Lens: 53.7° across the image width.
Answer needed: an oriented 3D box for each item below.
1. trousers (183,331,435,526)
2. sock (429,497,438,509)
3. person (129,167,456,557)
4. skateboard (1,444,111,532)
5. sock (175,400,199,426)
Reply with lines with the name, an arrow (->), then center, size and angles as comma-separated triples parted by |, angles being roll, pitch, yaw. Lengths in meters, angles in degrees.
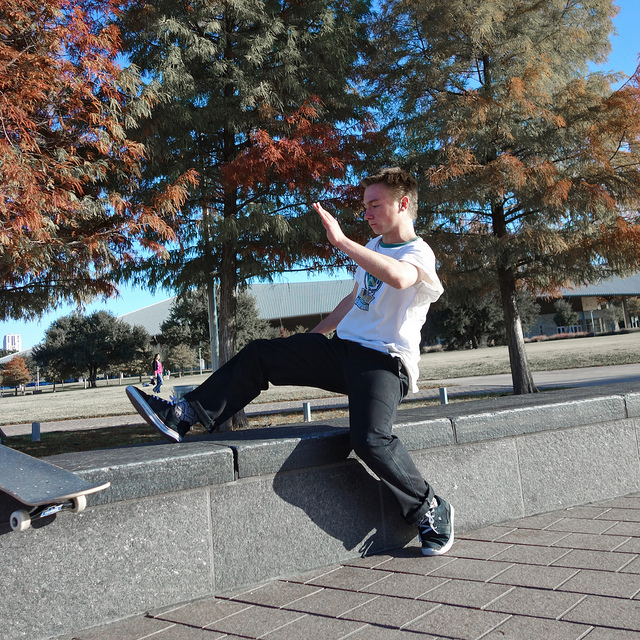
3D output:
trousers -> 0.047, 0.429, 3.462 | 1.502, 0.713, 1.036 | 14, 15, 24
sock -> 0.585, 0.939, 3.263 | 0.030, 0.019, 0.045 | 11, 31, -5
person -> 0.021, 0.162, 3.336 | 1.363, 1.952, 0.806 | 1, 9, -12
skateboard -> -1.123, 0.697, 2.586 | 0.380, 0.225, 0.516 | -6, 14, -42
sock -> -0.703, 0.494, 3.345 | 0.123, 0.138, 0.112 | 1, 10, -11
